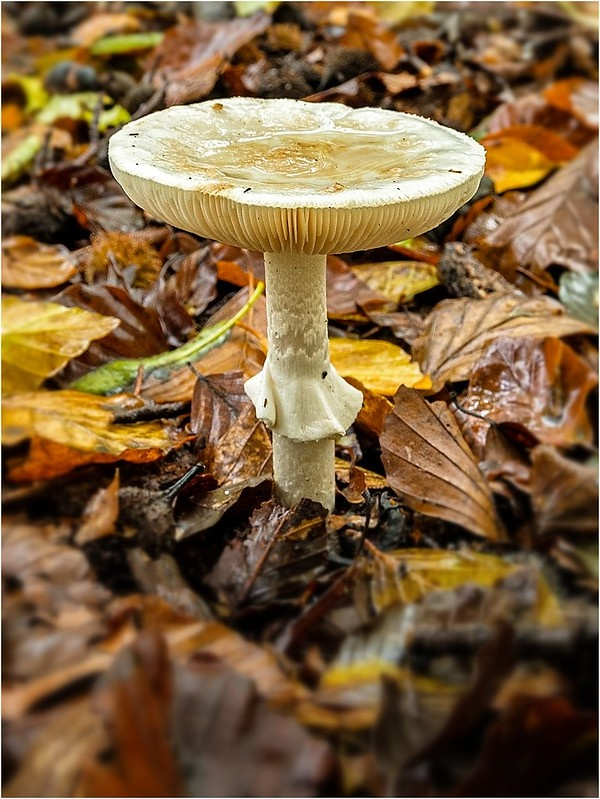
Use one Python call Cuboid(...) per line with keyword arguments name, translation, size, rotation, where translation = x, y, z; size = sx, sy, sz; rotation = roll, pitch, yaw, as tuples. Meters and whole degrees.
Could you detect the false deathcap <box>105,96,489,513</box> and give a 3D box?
Cuboid(name="false deathcap", translation=(-0.006, -0.242, 1.543), size=(0.611, 0.617, 0.697), rotation=(22, 48, 23))
